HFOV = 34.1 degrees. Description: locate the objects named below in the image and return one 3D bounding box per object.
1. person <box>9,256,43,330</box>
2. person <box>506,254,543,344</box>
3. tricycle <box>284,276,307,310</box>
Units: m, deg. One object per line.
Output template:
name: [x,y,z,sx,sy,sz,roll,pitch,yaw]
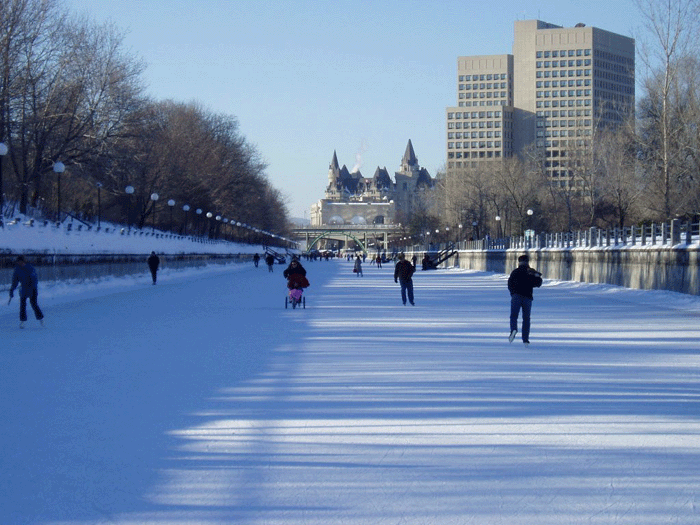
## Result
person: [-7.087,0.613,24.905,0.654,1.620,1.532,-2,7,-16]
person: [3.435,0.721,22.413,0.600,1.863,1.339,0,7,9]
tricycle: [-1.490,0.803,31.337,0.479,0.733,1.155,0,4,3]
